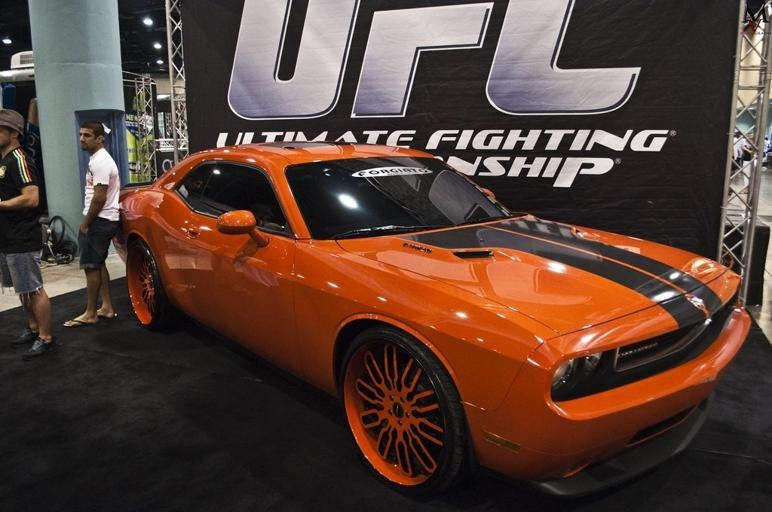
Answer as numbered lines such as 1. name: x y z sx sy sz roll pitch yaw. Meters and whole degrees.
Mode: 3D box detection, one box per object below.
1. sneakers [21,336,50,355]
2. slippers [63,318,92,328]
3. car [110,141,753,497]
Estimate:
1. sneakers: -3.233 0.834 3.939 0.142 0.085 0.230 8 6 14
2. slippers: -3.299 0.699 4.487 0.125 0.040 0.210 1 -1 28
3. car: -0.343 0.078 3.588 5.027 1.968 2.123 21 26 39
